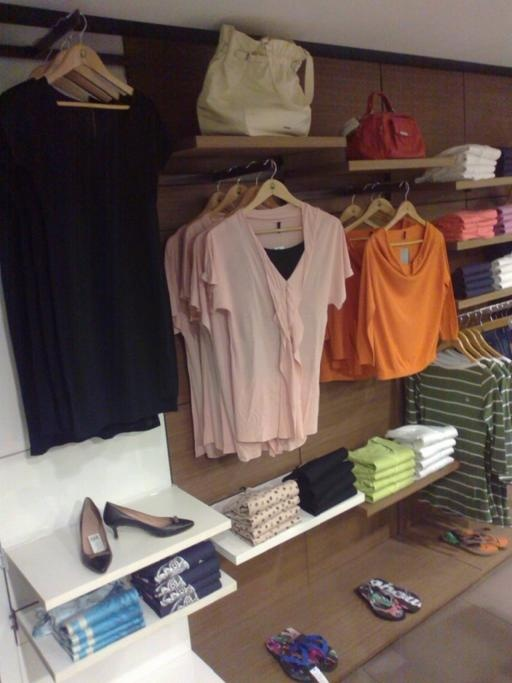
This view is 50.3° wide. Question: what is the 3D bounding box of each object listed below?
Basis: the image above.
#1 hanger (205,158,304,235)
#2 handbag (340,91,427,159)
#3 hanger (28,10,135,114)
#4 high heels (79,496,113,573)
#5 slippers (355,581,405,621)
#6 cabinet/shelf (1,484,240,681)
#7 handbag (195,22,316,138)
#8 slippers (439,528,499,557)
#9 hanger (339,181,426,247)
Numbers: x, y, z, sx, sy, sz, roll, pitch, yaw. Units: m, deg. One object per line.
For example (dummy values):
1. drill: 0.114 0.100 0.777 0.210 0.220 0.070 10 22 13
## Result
1. hanger: -0.010 -0.526 1.944 0.406 0.260 0.386 -8 15 -25
2. handbag: 0.485 -0.825 2.110 0.214 0.253 0.284 -10 18 -17
3. hanger: -0.473 -0.738 1.439 0.149 0.261 0.390 3 8 -39
4. high heels: -0.471 0.574 1.584 0.086 0.063 0.269 -5 20 -25
5. slippers: 0.565 1.196 2.514 0.138 0.032 0.263 -8 15 -25
6. cabinet/shelf: -0.404 0.709 1.688 0.622 0.320 0.341 -14 18 -42
7. handbag: 0.064 -0.833 1.773 0.141 0.269 0.315 12 18 22
8. slippers: 1.153 1.055 2.937 0.118 0.045 0.207 -9 11 -37
9. hanger: 0.544 -0.571 2.358 0.295 0.233 0.518 11 18 41
